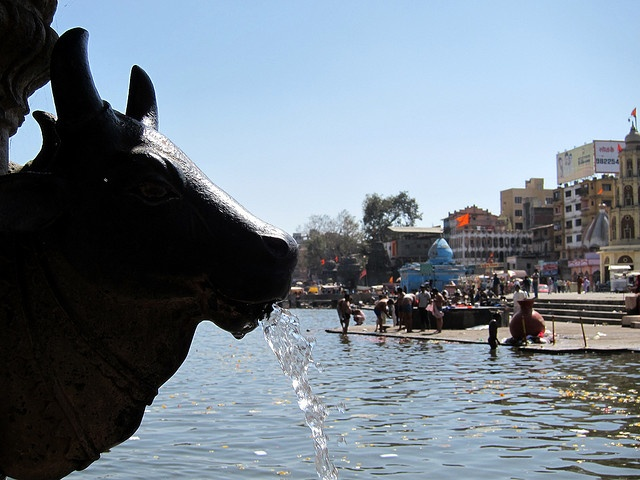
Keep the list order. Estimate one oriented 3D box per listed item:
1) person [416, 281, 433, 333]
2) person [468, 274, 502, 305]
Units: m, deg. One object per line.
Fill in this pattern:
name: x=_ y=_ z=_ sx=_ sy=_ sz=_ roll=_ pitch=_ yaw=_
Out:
person: x=3.781 y=2.465 z=26.292 sx=0.380 sy=1.611 sz=1.701 roll=-1 pitch=-5 yaw=9
person: x=9.139 y=2.729 z=40.126 sx=0.882 sy=1.181 sz=1.928 roll=-2 pitch=-8 yaw=-2
